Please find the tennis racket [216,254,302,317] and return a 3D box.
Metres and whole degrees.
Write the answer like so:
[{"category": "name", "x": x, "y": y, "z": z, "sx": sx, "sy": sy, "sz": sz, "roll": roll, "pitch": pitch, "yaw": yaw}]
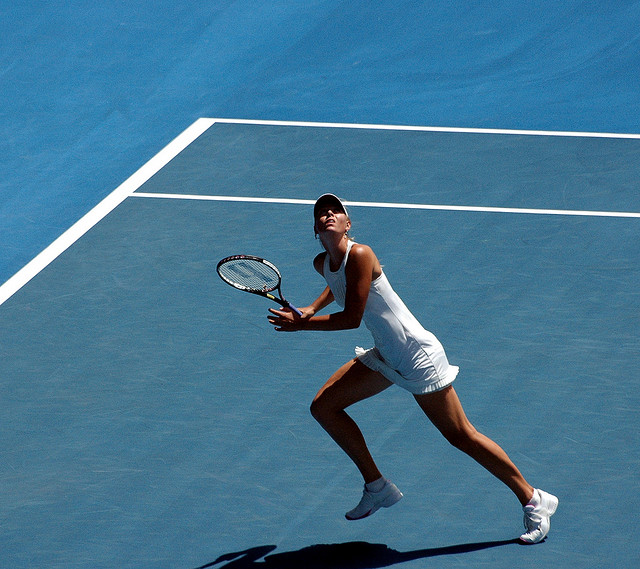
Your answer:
[{"category": "tennis racket", "x": -0.446, "y": -0.006, "z": 6.375, "sx": 0.825, "sy": 0.259, "sz": 0.048, "roll": 23, "pitch": 46, "yaw": -4}]
